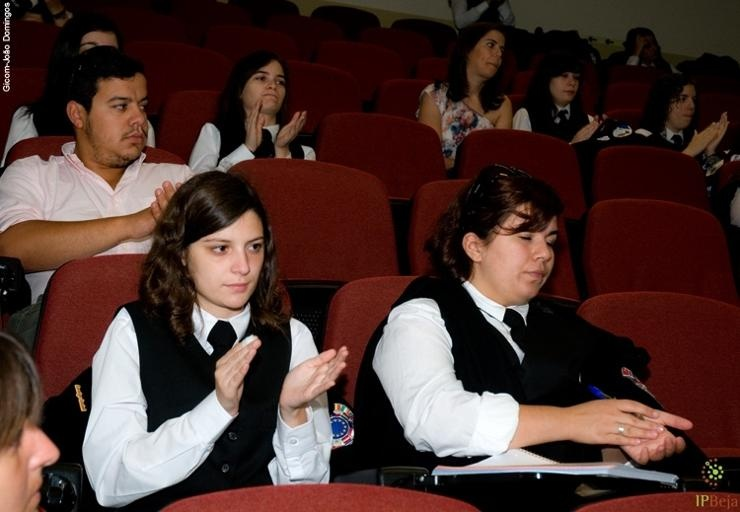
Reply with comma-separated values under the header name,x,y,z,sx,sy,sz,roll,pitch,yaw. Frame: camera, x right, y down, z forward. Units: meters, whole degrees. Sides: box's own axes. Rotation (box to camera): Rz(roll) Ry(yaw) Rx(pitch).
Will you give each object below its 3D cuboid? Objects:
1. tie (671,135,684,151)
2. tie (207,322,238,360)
name,x,y,z,sx,sy,sz,roll,pitch,yaw
tie,2.257,-0.839,4.276,0.093,0.140,0.033,1,-8,-10
tie,-0.431,0.244,1.712,0.080,0.093,0.065,-2,19,-45
